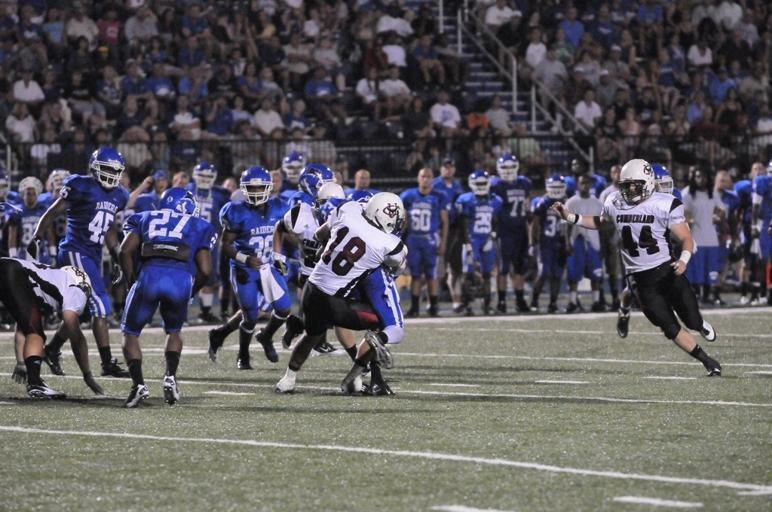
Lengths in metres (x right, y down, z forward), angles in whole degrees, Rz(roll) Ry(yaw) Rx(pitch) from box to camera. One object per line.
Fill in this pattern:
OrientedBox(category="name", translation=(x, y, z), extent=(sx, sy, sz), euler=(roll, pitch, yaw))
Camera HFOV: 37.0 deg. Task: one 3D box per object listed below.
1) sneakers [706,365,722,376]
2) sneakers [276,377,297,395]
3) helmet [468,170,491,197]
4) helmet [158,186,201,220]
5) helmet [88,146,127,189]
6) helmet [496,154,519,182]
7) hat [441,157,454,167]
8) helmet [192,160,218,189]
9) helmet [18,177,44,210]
OrientedBox(category="sneakers", translation=(3.399, 1.197, 11.924), extent=(0.092, 0.057, 0.124), euler=(13, -30, 27))
OrientedBox(category="sneakers", translation=(-0.984, 1.280, 11.440), extent=(0.192, 0.184, 0.131), euler=(2, 4, -4))
OrientedBox(category="helmet", translation=(1.430, -1.124, 17.598), extent=(0.300, 0.382, 0.288), euler=(0, 6, 5))
OrientedBox(category="helmet", translation=(-1.975, -0.523, 11.192), extent=(0.268, 0.272, 0.355), euler=(6, 12, 26))
OrientedBox(category="helmet", translation=(-3.031, -1.000, 12.608), extent=(0.366, 0.380, 0.463), euler=(11, 14, -38))
OrientedBox(category="helmet", translation=(1.873, -1.357, 17.780), extent=(0.304, 0.406, 0.299), euler=(0, 6, 6))
OrientedBox(category="hat", translation=(1.010, -1.511, 18.521), extent=(0.191, 0.093, 0.296), euler=(2, 5, 5))
OrientedBox(category="helmet", translation=(-2.549, -1.154, 16.432), extent=(0.352, 0.357, 0.438), euler=(4, 10, -21))
OrientedBox(category="helmet", translation=(-5.011, -0.936, 16.475), extent=(0.358, 0.405, 0.474), euler=(2, 6, -9))
